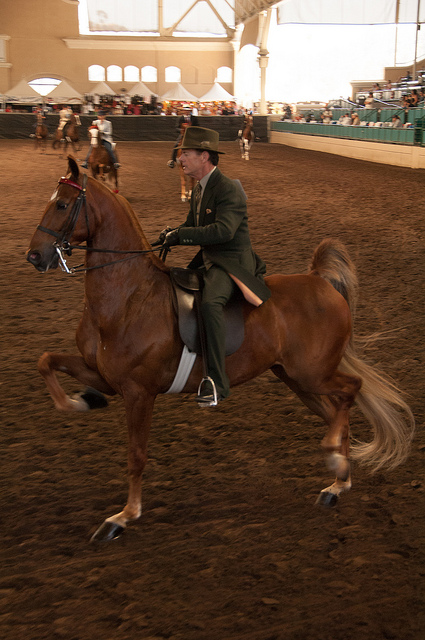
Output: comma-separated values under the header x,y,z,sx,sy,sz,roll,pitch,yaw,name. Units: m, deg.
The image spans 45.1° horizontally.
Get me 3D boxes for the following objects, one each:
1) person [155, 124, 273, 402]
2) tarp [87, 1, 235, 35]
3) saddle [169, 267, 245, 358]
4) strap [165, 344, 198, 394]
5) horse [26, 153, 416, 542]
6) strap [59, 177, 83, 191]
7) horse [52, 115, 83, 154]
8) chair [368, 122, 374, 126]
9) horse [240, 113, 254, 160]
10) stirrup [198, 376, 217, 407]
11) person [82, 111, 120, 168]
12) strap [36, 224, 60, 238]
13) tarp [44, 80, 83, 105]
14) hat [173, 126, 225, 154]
x,y,z,sx,sy,sz,roll,pitch,yaw,name
0.032,-0.248,2.159,0.507,1.187,0.583,0,10,-6,person
-4.807,-26.613,44.577,11.929,3.233,1.017,-1,10,-11,tarp
-0.023,-0.029,2.095,0.313,0.354,0.272,0,10,-4,saddle
-0.130,0.202,2.070,0.073,0.174,0.135,23,1,-20,strap
0.101,0.086,2.271,1.700,1.423,0.630,-2,11,-17,horse
-0.524,-0.506,1.887,0.080,0.049,0.135,-2,10,-16,strap
-6.327,-8.195,22.282,1.064,1.723,2.206,-2,10,-17,horse
6.661,-8.286,21.479,0.240,0.151,0.221,-1,12,0,chair
1.471,-7.784,21.588,0.589,1.390,2.056,-6,15,-4,horse
-0.021,0.287,2.014,0.074,0.131,0.139,1,10,-2,stirrup
-3.008,-4.976,14.018,1.115,1.473,1.202,4,28,5,person
-0.598,-0.320,1.830,0.097,0.043,0.030,5,11,23,strap
-11.009,-16.705,38.011,2.780,1.561,2.566,-2,10,-11,tarp
-0.045,-0.751,2.122,0.158,0.117,0.203,1,10,0,hat
